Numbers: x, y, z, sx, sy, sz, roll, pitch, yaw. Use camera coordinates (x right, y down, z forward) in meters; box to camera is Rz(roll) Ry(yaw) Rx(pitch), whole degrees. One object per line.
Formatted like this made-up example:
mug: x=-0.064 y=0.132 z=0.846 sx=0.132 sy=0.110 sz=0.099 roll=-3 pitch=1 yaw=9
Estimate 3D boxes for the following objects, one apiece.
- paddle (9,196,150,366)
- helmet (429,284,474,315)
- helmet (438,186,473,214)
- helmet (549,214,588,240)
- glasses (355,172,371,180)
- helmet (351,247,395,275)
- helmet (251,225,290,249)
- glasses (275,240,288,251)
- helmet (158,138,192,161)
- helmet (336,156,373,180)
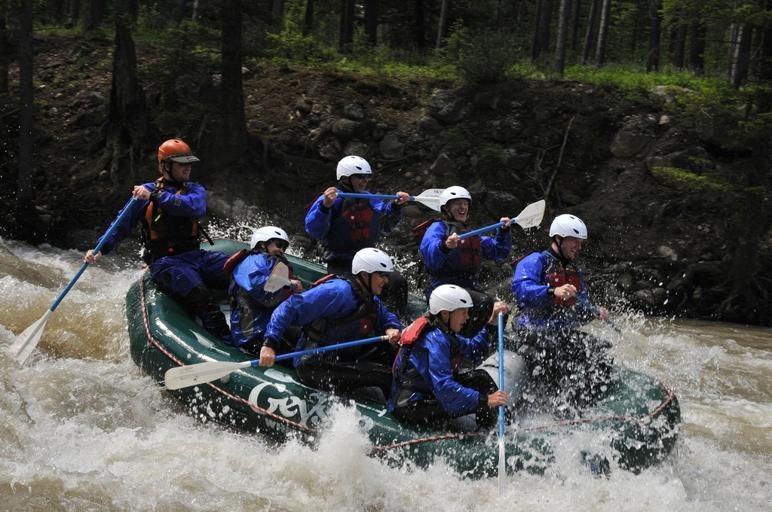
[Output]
paddle: x=-5.710 y=0.543 z=17.583 sx=0.580 sy=4.152 sz=0.267 roll=41 pitch=-16 yaw=1
helmet: x=0.982 y=0.640 z=14.128 sx=0.551 sy=0.314 sz=0.412 roll=6 pitch=5 yaw=17
helmet: x=1.115 y=-0.984 z=15.808 sx=0.364 sy=0.342 sz=0.493 roll=11 pitch=-32 yaw=-44
helmet: x=2.887 y=-0.454 z=14.883 sx=0.529 sy=0.288 sz=0.374 roll=5 pitch=5 yaw=24
glasses: x=-0.399 y=-1.369 z=16.197 sx=0.267 sy=0.125 sz=0.205 roll=-4 pitch=-3 yaw=38
helmet: x=-0.195 y=0.100 z=14.559 sx=0.534 sy=0.307 sz=0.385 roll=16 pitch=12 yaw=13
helmet: x=-1.882 y=-0.327 z=15.369 sx=0.554 sy=0.291 sz=0.379 roll=10 pitch=-13 yaw=3
glasses: x=-1.659 y=-0.165 z=15.298 sx=0.179 sy=0.159 sz=0.145 roll=-4 pitch=-9 yaw=29
helmet: x=-3.527 y=-1.773 z=15.959 sx=0.526 sy=0.274 sz=0.355 roll=0 pitch=10 yaw=8
helmet: x=-0.593 y=-1.523 z=16.324 sx=0.546 sy=0.413 sz=0.409 roll=-24 pitch=-9 yaw=26
